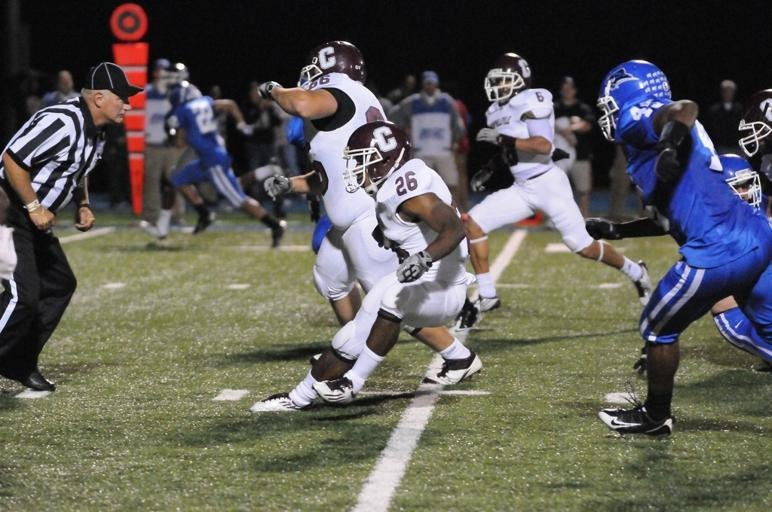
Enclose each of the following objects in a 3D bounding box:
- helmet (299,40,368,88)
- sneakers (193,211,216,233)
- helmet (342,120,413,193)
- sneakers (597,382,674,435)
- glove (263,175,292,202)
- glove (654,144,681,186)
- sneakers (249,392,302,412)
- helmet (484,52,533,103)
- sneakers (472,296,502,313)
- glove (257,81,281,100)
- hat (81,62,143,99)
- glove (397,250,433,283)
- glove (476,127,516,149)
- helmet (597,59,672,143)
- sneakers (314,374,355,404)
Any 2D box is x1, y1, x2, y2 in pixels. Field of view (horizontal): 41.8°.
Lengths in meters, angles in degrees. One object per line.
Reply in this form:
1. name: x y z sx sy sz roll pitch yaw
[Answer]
1. helmet: -0.310 -1.228 6.414 0.385 0.275 0.269 14 24 12
2. sneakers: -2.128 -0.398 11.917 0.338 0.129 0.146 -39 12 -8
3. helmet: -0.069 -0.554 5.689 0.429 0.369 0.347 -4 9 -1
4. sneakers: 1.360 0.854 5.677 0.504 0.208 0.188 4 24 17
5. glove: -0.692 -0.449 6.485 0.177 0.122 0.082 5 8 -11
6. glove: 1.439 -0.458 5.190 0.113 0.226 0.342 3 13 16
7. sneakers: -0.645 0.851 5.930 0.319 0.112 0.108 3 -7 -4
8. helmet: 0.958 -1.385 7.906 0.417 0.319 0.310 -27 13 -19
9. sneakers: 0.747 0.355 7.525 0.187 0.076 0.110 -19 -1 -7
10. glove: -0.721 -1.028 6.237 0.130 0.058 0.155 2 0 -28
11. hat: -1.645 -1.065 6.159 0.343 0.177 0.200 -1 20 -3
12. glove: 0.145 0.058 5.456 0.193 0.089 0.141 -39 30 -21
13. glove: 0.794 -0.880 7.498 0.269 0.094 0.135 13 18 -20
14. helmet: 1.316 -0.849 5.504 0.496 0.448 0.397 0 7 24
15. sneakers: -0.286 0.762 5.766 0.232 0.119 0.118 2 -12 1
